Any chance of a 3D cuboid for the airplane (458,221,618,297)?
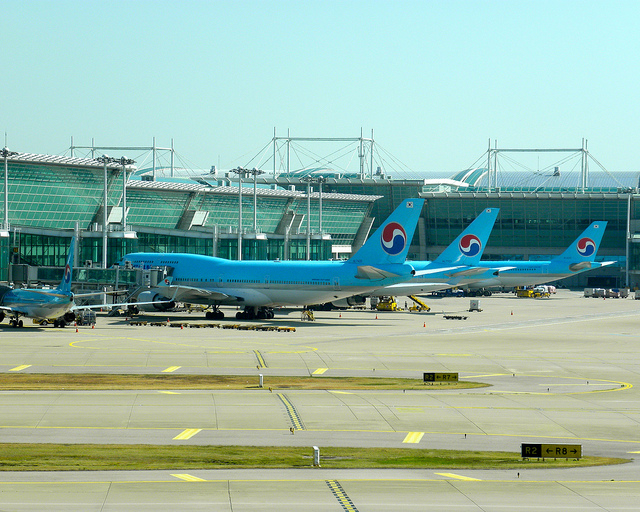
[{"bbox_3d":[22.178,1.075,127.165,13.464,3.995,10.586,0,2,17],"label":"airplane"}]
